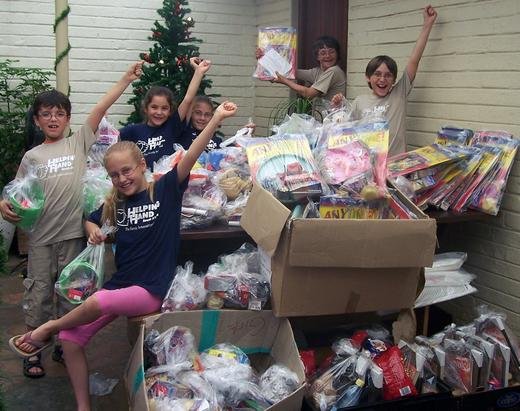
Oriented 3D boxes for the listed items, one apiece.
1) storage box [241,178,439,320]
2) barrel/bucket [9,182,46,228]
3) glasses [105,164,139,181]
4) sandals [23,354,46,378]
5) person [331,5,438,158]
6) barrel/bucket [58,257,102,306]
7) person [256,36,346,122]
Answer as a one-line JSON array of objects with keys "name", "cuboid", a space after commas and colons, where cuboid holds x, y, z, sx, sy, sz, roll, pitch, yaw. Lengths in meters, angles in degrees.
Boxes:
[{"name": "storage box", "cuboid": [0.356, 0.218, 1.724, 0.694, 0.472, 0.662, 3, 4, -11]}, {"name": "barrel/bucket", "cuboid": [-1.209, -0.008, 1.882, 0.152, 0.223, 0.132, 12, 17, -20]}, {"name": "glasses", "cuboid": [-0.646, -0.156, 1.736, 0.165, 0.091, 0.068, -3, 17, -22]}, {"name": "sandals", "cuboid": [-1.246, 0.900, 2.016, 0.078, 0.084, 0.218, 1, -1, -23]}, {"name": "person", "cuboid": [0.913, -0.877, 2.581, 0.488, 1.011, 0.238, 8, 16, 18]}, {"name": "barrel/bucket", "cuboid": [-0.862, 0.357, 1.739, 0.168, 0.181, 0.133, 6, 16, 10]}, {"name": "person", "cuboid": [0.275, -1.258, 3.718, 0.839, 1.189, 0.633, -4, 15, -10]}]
